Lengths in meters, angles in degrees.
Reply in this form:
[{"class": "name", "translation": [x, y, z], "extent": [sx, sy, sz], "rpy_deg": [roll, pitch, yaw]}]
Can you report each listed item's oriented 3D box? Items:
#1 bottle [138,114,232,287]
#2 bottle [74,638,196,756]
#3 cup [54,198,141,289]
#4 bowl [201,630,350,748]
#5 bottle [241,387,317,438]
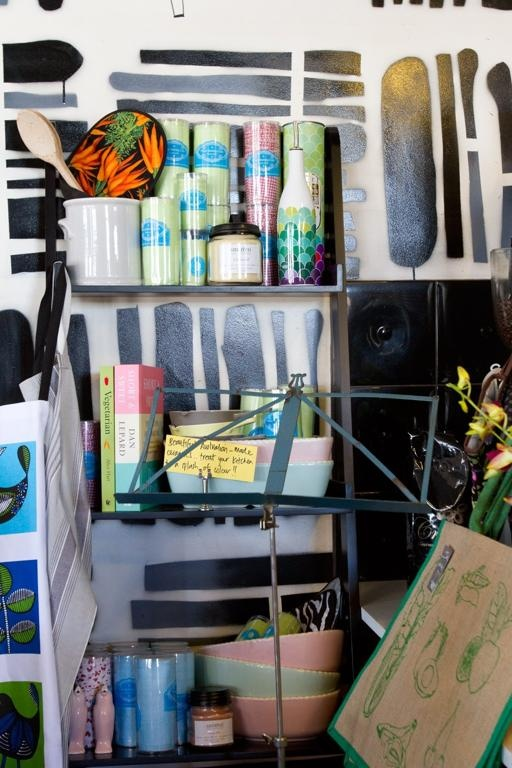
[{"class": "bottle", "translation": [-0.135, -0.347, 1.292], "extent": [0.157, 0.321, 0.183], "rpy_deg": [-1, 9, 7]}, {"class": "bottle", "translation": [-0.202, 0.517, 1.178], "extent": [0.162, 0.188, 0.163], "rpy_deg": [-1, -9, -3]}, {"class": "cup", "translation": [-0.282, -0.258, 1.278], "extent": [0.148, 0.159, 0.161], "rpy_deg": [-2, 6, 0]}, {"class": "bowl", "translation": [0.038, 0.492, 1.179], "extent": [0.200, 0.135, 0.201], "rpy_deg": [-3, -18, -1]}, {"class": "bottle", "translation": [0.038, 0.041, 1.254], "extent": [0.108, 0.108, 0.105], "rpy_deg": [0, 1, 13]}]
